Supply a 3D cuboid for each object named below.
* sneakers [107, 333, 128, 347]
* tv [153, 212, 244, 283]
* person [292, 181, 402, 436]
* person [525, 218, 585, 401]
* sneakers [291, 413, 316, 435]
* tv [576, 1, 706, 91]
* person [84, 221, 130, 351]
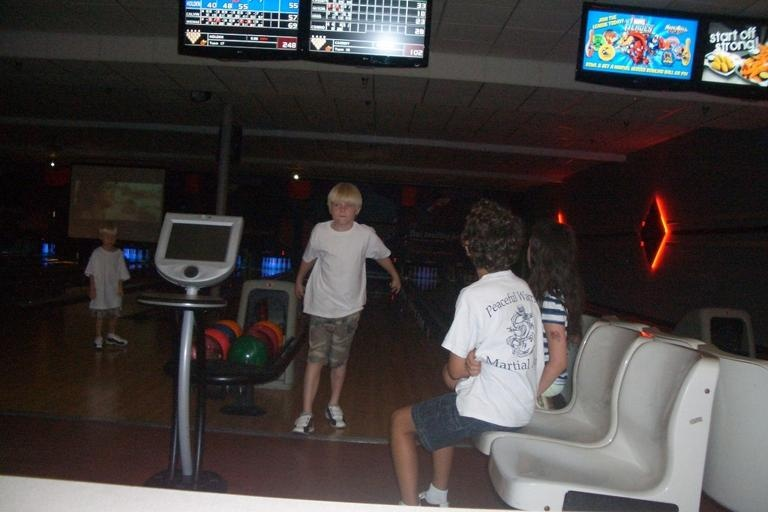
[{"bbox_3d":[-2.930,0.930,6.295,0.301,0.124,0.124,6,12,-14],"label":"sneakers"},{"bbox_3d":[-1.110,-0.041,3.352,0.474,0.455,0.204,3,-11,-3],"label":"tv"},{"bbox_3d":[-0.336,0.381,4.327,0.693,1.766,0.359,4,1,-10],"label":"person"},{"bbox_3d":[1.046,0.450,3.660,0.492,1.262,0.452,3,21,26],"label":"person"},{"bbox_3d":[-0.588,1.235,4.180,0.171,0.137,0.107,4,0,-23],"label":"sneakers"},{"bbox_3d":[1.964,-1.590,4.276,0.885,0.608,0.093,6,4,0],"label":"tv"},{"bbox_3d":[-3.063,0.320,6.223,0.452,1.143,0.314,4,1,-28],"label":"person"}]
